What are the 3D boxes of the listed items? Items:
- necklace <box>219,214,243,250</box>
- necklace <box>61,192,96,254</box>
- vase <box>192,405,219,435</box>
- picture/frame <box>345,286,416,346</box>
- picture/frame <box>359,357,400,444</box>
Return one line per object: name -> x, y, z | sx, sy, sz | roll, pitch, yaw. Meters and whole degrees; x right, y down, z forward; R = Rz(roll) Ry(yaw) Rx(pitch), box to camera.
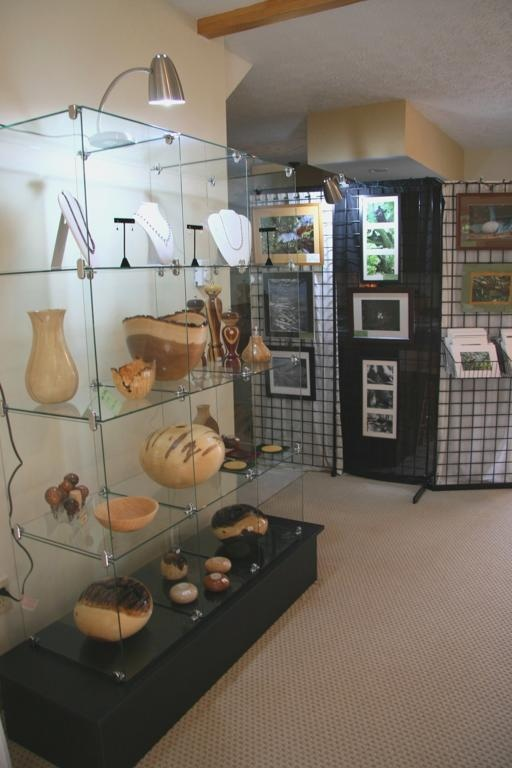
necklace -> -0.096, -0.560, 2.136 | 0.010, 0.142, 0.133 | 2, 13, 25
necklace -> -0.452, -0.405, 1.472 | 0.070, 0.177, 0.166 | -4, 9, -23
vase -> -0.179, 0.128, 2.086 | 0.093, 0.135, 0.099 | 4, 10, 19
picture/frame -> 0.813, -0.439, 3.710 | 0.375, 0.317, 0.034 | 4, 13, 27
picture/frame -> 0.816, 0.106, 3.806 | 0.235, 0.519, 0.035 | 5, 9, 32
